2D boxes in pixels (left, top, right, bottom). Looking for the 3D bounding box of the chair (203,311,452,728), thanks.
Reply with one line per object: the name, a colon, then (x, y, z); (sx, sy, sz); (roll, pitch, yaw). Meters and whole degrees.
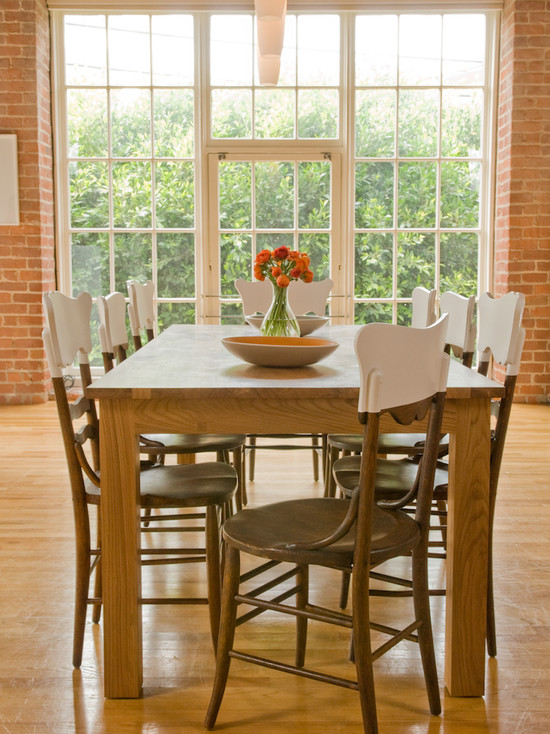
chair: (0.105, 0.304, 1.465); (0.462, 0.834, 0.414); (0, 13, 12)
